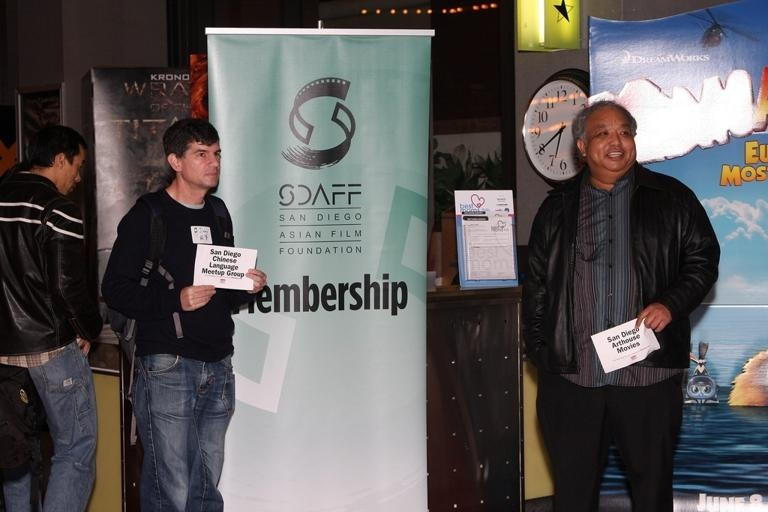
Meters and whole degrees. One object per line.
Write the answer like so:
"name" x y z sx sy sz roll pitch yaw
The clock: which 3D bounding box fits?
"clock" 1.446 -1.089 5.424 0.199 0.885 0.832 -7 26 -44
